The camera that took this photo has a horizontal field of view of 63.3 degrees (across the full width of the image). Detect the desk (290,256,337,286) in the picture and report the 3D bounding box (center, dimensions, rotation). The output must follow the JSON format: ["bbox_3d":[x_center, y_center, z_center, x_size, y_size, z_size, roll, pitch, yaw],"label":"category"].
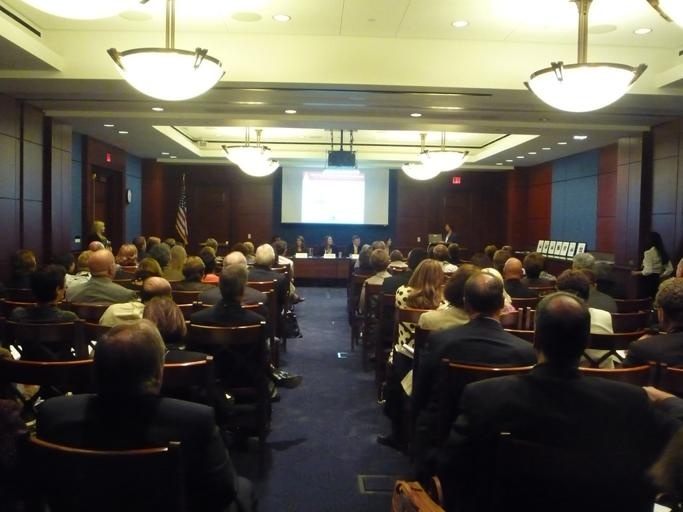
[{"bbox_3d":[-0.608,0.355,12.740,1.091,0.643,0.729,0,-3,4],"label":"desk"}]

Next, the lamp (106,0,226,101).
[{"bbox_3d":[-1.244,-1.261,4.061,0.683,0.935,0.782,-1,0,-5],"label":"lamp"}]

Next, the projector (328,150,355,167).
[{"bbox_3d":[-0.009,-1.780,10.085,0.494,0.327,0.343,-4,5,-7],"label":"projector"}]

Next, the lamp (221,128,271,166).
[{"bbox_3d":[-1.755,-2.074,10.315,0.905,0.598,0.951,1,5,10],"label":"lamp"}]
